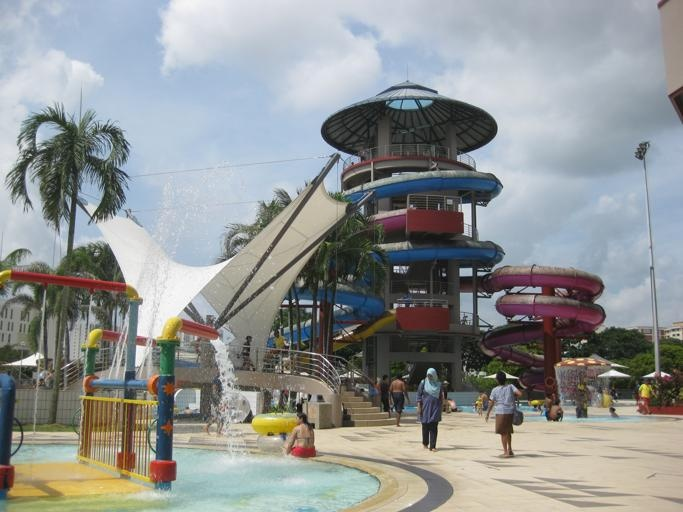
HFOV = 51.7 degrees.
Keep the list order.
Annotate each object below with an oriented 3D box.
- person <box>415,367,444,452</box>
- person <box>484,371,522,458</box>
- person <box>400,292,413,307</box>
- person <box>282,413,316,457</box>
[{"bbox_3d":[2.154,3.785,17.410,0.575,1.954,1.469,-1,-14,5],"label":"person"},{"bbox_3d":[3.699,3.594,15.971,0.656,1.875,1.014,-3,-15,14],"label":"person"},{"bbox_3d":[3.944,2.724,42.905,0.637,1.230,0.660,2,-14,1],"label":"person"},{"bbox_3d":[-0.902,4.093,15.886,0.778,1.148,0.843,10,-23,-21],"label":"person"}]
